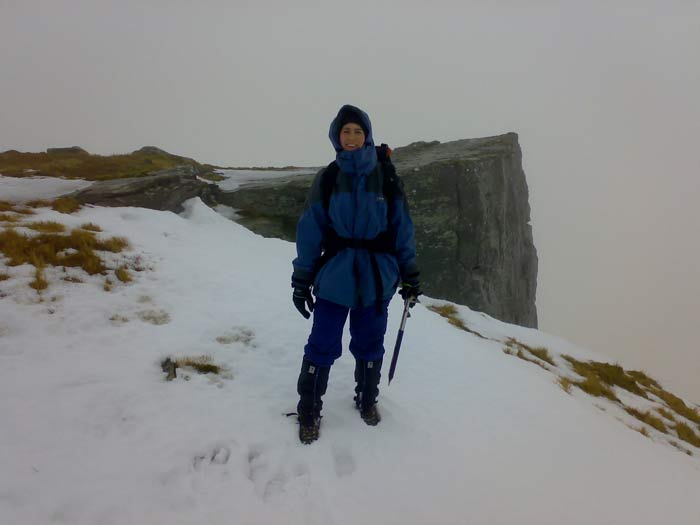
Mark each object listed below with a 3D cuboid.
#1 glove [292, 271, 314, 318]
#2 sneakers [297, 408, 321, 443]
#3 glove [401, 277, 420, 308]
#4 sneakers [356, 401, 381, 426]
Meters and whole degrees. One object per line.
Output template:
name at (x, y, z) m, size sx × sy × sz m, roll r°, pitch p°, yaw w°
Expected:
glove at (-0.775, 0.518, 11.375) m, size 0.213 × 0.692 × 0.498 m, roll -2°, pitch 14°, yaw 23°
sneakers at (-0.681, 2.707, 11.425) m, size 0.212 × 0.680 × 0.291 m, roll -2°, pitch 0°, yaw -1°
glove at (1.067, 0.508, 11.758) m, size 0.322 × 0.488 × 0.200 m, roll 3°, pitch 10°, yaw 19°
sneakers at (0.347, 2.592, 11.802) m, size 0.235 × 0.445 × 0.173 m, roll -3°, pitch -14°, yaw 6°
